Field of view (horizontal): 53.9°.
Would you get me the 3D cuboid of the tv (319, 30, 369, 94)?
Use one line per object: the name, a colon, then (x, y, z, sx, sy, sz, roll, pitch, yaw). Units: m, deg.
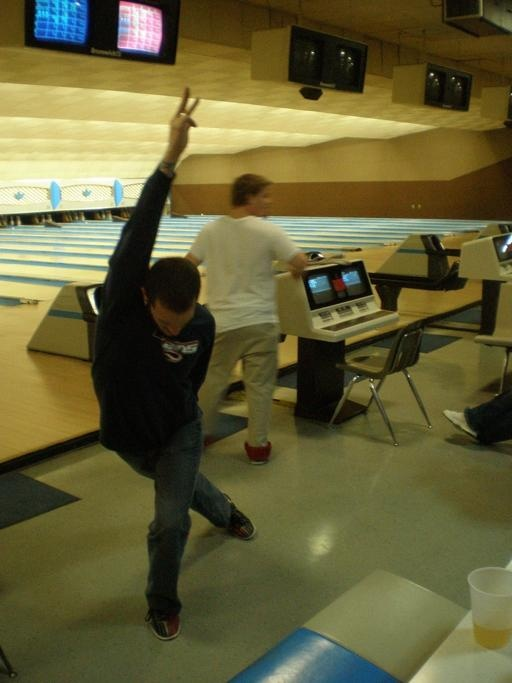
tv: (0.914, -2.614, 4.780, 0.258, 0.423, 0.520, -22, 44, -33)

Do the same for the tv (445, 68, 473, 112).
tv: (2.538, -3.134, 6.300, 0.582, 0.453, 0.113, -10, 14, -43)

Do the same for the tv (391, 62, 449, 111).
tv: (2.122, -3.058, 6.172, 0.582, 0.481, 0.414, -4, 11, -24)

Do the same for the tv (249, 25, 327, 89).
tv: (0.347, -2.596, 4.654, 0.805, 0.417, 0.783, 5, 25, 0)
